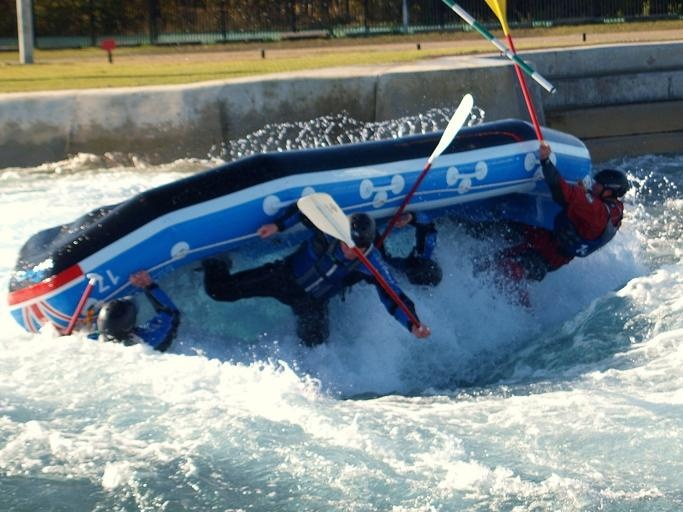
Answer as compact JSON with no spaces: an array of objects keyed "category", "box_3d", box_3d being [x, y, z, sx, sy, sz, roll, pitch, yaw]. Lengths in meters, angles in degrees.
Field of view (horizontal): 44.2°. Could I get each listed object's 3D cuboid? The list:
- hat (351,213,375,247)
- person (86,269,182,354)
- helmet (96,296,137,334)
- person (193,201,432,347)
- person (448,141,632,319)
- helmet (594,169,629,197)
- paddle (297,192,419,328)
[{"category":"hat","box_3d":[0.162,-0.224,6.768,0.198,0.255,0.256,-12,-5,37]},{"category":"person","box_3d":[-1.691,0.443,6.658,0.332,0.378,0.706,-21,13,-2]},{"category":"helmet","box_3d":[-1.808,0.485,6.671,0.273,0.334,0.387,-2,0,4]},{"category":"person","box_3d":[-0.174,0.171,6.966,1.455,1.043,1.153,7,40,-22]},{"category":"person","box_3d":[1.950,-0.192,8.028,0.825,1.832,1.058,14,32,-36]},{"category":"helmet","box_3d":[2.487,-0.677,7.804,0.273,0.268,0.221,22,18,4]},{"category":"paddle","box_3d":[0.098,0.012,6.753,0.839,1.080,0.298,-6,6,0]}]
